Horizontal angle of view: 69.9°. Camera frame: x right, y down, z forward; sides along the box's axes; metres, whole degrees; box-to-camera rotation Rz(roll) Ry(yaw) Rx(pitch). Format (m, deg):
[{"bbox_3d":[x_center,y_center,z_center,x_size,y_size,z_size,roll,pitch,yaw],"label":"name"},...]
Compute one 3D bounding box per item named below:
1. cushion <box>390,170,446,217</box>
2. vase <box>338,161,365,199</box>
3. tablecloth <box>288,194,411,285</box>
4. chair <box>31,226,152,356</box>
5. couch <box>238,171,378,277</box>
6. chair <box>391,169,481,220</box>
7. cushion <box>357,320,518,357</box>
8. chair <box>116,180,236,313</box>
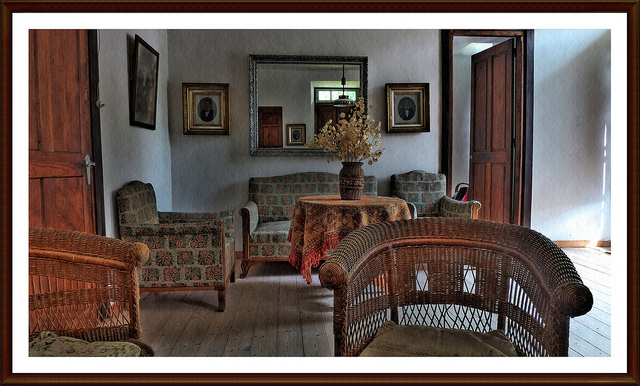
[{"bbox_3d":[1.149,0.022,5.905,0.541,0.753,0.585,1,-4,-3],"label":"cushion"},{"bbox_3d":[0.279,-0.108,4.161,0.252,0.329,0.257,1,5,-30],"label":"vase"},{"bbox_3d":[0.293,0.420,4.259,1.147,0.747,1.235,0,6,25],"label":"tablecloth"},{"bbox_3d":[-1.307,0.565,2.557,0.714,0.759,0.549,14,-26,-40],"label":"chair"},{"bbox_3d":[-0.152,0.310,5.294,1.473,1.016,0.733,-1,12,7],"label":"couch"},{"bbox_3d":[1.348,-0.019,5.440,0.781,0.946,0.724,1,-7,-3],"label":"chair"},{"bbox_3d":[0.572,0.748,2.275,0.468,0.054,0.287,3,7,9],"label":"cushion"},{"bbox_3d":[-1.463,0.436,4.625,1.120,1.415,1.155,0,1,-4],"label":"chair"}]
